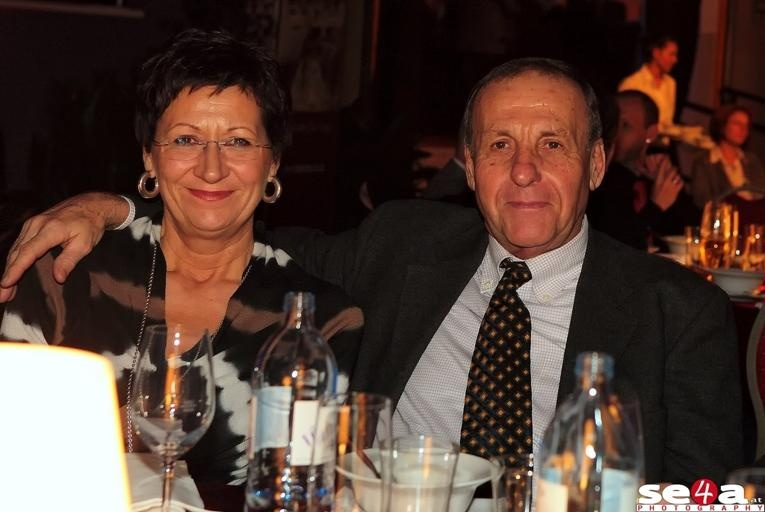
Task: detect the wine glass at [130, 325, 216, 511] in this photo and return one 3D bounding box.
[{"bbox_3d":[-0.535,0.400,1.946,0.172,0.446,0.149,-6,-12,36],"label":"wine glass"}]

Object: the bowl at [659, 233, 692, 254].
[{"bbox_3d":[2.050,-0.075,5.375,0.179,0.116,0.158,1,-1,1],"label":"bowl"}]

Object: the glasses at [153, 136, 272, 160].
[{"bbox_3d":[-0.626,-0.380,2.795,0.401,0.096,0.097,2,-9,-7],"label":"glasses"}]
